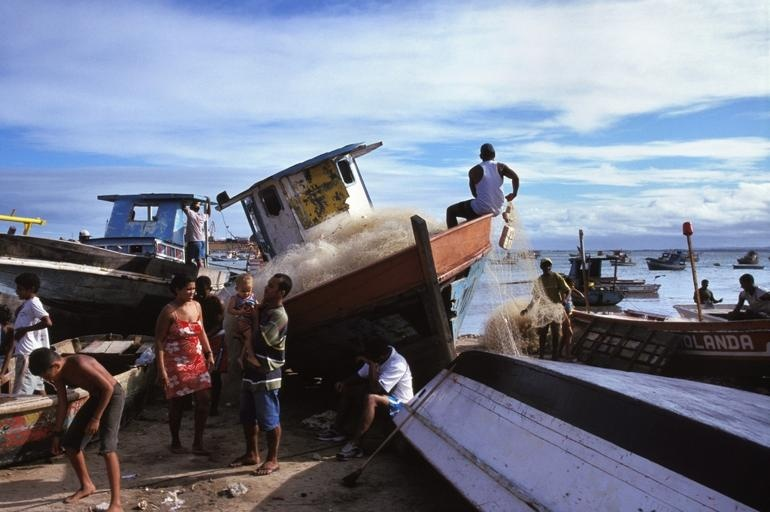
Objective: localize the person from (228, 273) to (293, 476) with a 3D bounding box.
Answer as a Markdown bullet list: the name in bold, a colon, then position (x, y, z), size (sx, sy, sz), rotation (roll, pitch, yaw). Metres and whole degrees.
- **person**: position (-1.392, 1.306, 5.346), size (0.522, 2.226, 0.367), rotation (3, 2, 12)

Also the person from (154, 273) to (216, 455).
- **person**: position (-2.364, 1.301, 5.631), size (0.611, 2.192, 0.802), rotation (2, 2, -19)

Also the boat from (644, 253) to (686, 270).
- **boat**: position (35.367, 0.775, 60.210), size (4.474, 1.739, 2.068), rotation (-1, 1, 8)

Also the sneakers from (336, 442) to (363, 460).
- **sneakers**: position (-0.433, 2.429, 5.931), size (0.144, 0.113, 0.308), rotation (-8, -17, 26)

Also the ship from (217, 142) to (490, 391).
- **ship**: position (-0.882, -0.071, 9.333), size (3.299, 3.319, 6.667), rotation (-31, 7, -24)

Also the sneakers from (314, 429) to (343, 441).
- **sneakers**: position (-0.750, 2.445, 6.570), size (0.247, 0.071, 0.142), rotation (0, 17, -21)

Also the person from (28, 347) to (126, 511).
- **person**: position (-2.876, 1.621, 4.591), size (0.847, 1.553, 0.606), rotation (3, 1, -10)

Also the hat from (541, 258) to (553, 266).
- **hat**: position (3.471, 0.126, 10.293), size (0.217, 0.087, 0.281), rotation (-1, -3, 9)

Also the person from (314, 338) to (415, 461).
- **person**: position (-0.249, 1.782, 6.272), size (1.168, 1.392, 1.379), rotation (7, -8, 9)
